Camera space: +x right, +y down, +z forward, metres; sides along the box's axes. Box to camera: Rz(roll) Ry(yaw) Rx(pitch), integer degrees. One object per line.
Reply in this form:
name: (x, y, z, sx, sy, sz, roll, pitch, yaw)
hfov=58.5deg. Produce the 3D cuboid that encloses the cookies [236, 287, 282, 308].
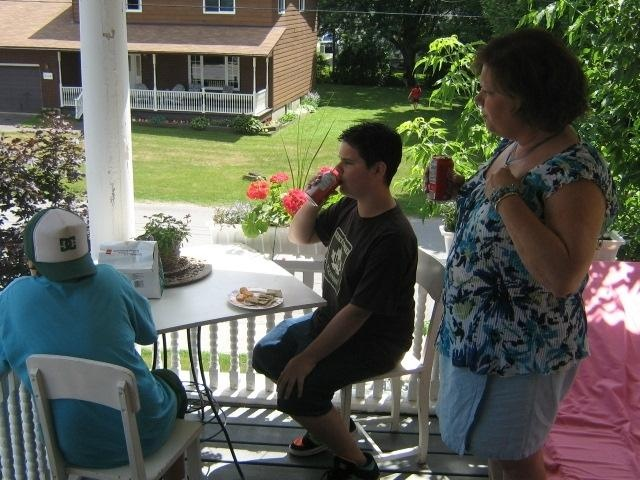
cookies: (-0.310, 0.281, 2.761, 0.124, 0.024, 0.123, 7, 19, 15)

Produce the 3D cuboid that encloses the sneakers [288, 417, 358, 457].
sneakers: (-0.007, 1.065, 3.065, 0.403, 0.177, 0.139, 0, 14, -13)

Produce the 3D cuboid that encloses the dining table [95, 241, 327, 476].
dining table: (-0.557, 0.478, 3.226, 1.130, 1.125, 1.152, -4, 27, -10)

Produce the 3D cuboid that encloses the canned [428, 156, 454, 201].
canned: (0.519, -0.269, 2.474, 0.108, 0.184, 0.107, -10, 22, -32)

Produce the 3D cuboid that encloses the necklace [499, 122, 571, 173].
necklace: (0.709, -0.295, 1.911, 0.215, 0.084, 0.163, -26, -4, 15)

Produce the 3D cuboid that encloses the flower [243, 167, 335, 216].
flower: (-0.137, -0.252, 3.541, 0.594, 0.298, 0.542, -6, -9, 4)

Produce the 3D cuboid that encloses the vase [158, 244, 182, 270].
vase: (-0.774, 0.086, 2.965, 0.110, 0.094, 0.120, 0, 3, -4)

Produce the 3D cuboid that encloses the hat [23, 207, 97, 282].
hat: (-0.962, 0.000, 2.137, 0.347, 0.174, 0.232, 32, 32, 34)

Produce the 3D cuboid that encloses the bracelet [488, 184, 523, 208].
bracelet: (0.577, -0.144, 1.789, 0.072, 0.038, 0.080, -10, -14, -32)
